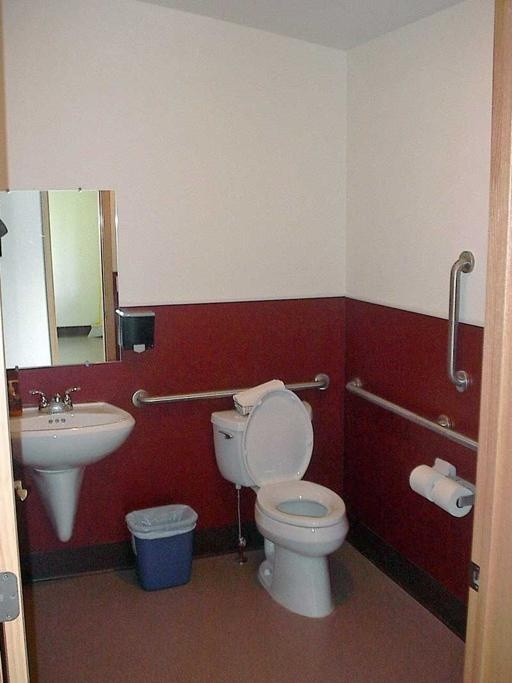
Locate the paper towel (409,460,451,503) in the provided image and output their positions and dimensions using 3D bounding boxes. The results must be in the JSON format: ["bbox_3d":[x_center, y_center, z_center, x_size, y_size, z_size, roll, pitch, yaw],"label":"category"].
[{"bbox_3d":[0.669,0.529,2.127,0.111,0.184,0.193,3,0,-20],"label":"paper towel"}]

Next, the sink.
[{"bbox_3d":[-0.741,0.393,2.260,0.455,0.222,0.355,-4,8,-25],"label":"sink"}]

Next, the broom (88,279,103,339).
[{"bbox_3d":[-0.692,-0.146,2.423,0.080,0.254,0.060,1,5,-44],"label":"broom"}]

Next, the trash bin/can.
[{"bbox_3d":[-0.426,0.927,2.514,0.300,0.317,0.216,-3,7,-21],"label":"trash bin/can"}]

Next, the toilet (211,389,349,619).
[{"bbox_3d":[0.130,0.682,2.459,0.423,0.892,0.684,-5,9,-25],"label":"toilet"}]
